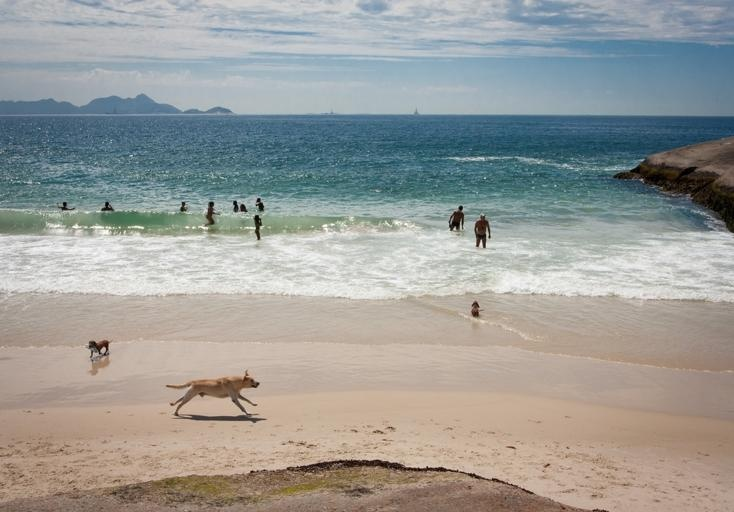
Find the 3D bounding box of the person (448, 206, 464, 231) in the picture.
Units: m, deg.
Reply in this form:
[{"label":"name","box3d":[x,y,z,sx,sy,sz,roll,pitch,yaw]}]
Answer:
[{"label":"person","box3d":[3.914,-1.692,32.070,0.610,1.129,0.994,2,12,4]}]

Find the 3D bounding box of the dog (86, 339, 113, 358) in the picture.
[{"label":"dog","box3d":[-7.618,2.586,20.948,0.543,0.496,0.627,-2,11,-17]}]

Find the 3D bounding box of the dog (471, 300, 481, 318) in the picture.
[{"label":"dog","box3d":[3.471,1.662,23.476,0.301,0.521,0.259,6,16,13]}]

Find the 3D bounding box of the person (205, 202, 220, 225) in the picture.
[{"label":"person","box3d":[-7.066,-1.972,33.201,0.485,1.024,1.024,-1,12,-12]}]

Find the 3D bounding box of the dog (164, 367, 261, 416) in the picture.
[{"label":"dog","box3d":[-3.838,3.448,18.750,2.088,1.039,0.865,0,12,-4]}]
